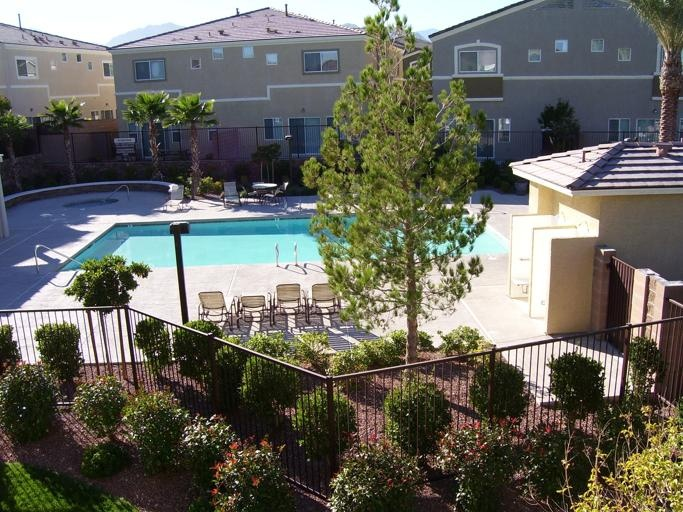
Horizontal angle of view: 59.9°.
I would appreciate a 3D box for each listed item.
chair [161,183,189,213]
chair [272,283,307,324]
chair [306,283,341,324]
[{"bbox_3d":[-8.679,-3.065,30.831,0.926,1.457,2.032,1,16,0],"label":"chair"},{"bbox_3d":[-1.423,1.209,16.118,0.854,1.268,0.899,0,-19,-10],"label":"chair"},{"bbox_3d":[-0.480,1.150,16.546,0.851,1.055,1.609,-2,12,-1],"label":"chair"}]
